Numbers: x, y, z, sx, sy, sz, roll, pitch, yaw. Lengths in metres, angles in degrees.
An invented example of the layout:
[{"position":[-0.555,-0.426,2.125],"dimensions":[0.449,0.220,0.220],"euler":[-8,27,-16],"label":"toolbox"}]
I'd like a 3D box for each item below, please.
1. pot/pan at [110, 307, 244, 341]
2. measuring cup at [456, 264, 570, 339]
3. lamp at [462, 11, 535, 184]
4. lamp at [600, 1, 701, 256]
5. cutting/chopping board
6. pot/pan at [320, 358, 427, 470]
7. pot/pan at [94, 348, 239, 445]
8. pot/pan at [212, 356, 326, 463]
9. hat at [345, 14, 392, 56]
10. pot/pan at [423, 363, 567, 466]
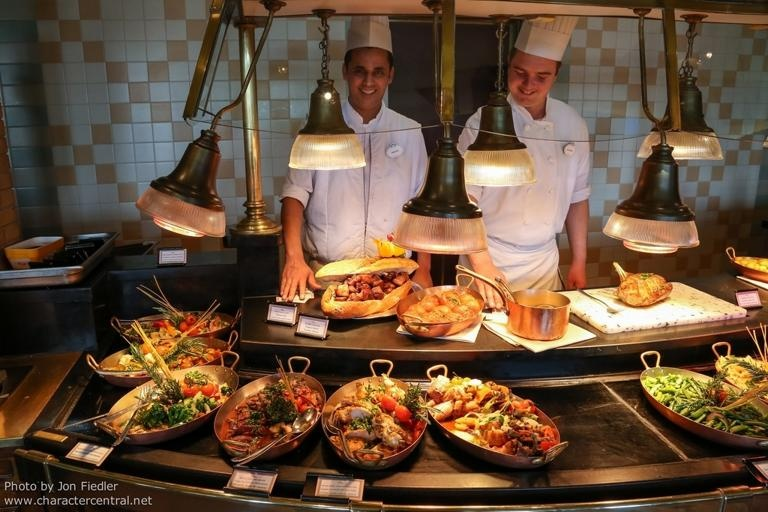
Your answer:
[{"position":[-1.210,0.419,3.440],"dimensions":[0.704,0.136,0.357],"euler":[0,16,-4],"label":"pot/pan"},{"position":[0.681,0.234,3.288],"dimensions":[0.677,0.280,0.327],"euler":[6,14,31],"label":"measuring cup"},{"position":[0.577,-0.738,2.935],"dimensions":[0.280,0.896,0.275],"euler":[-3,14,-12],"label":"lamp"},{"position":[1.403,-0.566,2.796],"dimensions":[0.420,1.217,0.444],"euler":[13,21,27],"label":"lamp"},{"position":[1.598,0.295,3.489],"dimensions":[0.985,0.124,0.499],"euler":[-1,17,-11],"label":"cutting/chopping board"},{"position":[-0.059,0.784,2.795],"dimensions":[0.470,0.296,0.473],"euler":[-8,20,-31],"label":"pot/pan"},{"position":[-1.086,0.742,2.871],"dimensions":[0.355,0.141,0.574],"euler":[5,18,37],"label":"pot/pan"},{"position":[-0.554,0.770,2.830],"dimensions":[0.539,0.282,0.428],"euler":[-9,21,-32],"label":"pot/pan"},{"position":[-0.109,-1.491,3.929],"dimensions":[0.269,0.239,0.273],"euler":[2,9,6],"label":"hat"},{"position":[0.548,0.790,2.752],"dimensions":[0.369,0.184,0.618],"euler":[-17,27,-39],"label":"pot/pan"}]
